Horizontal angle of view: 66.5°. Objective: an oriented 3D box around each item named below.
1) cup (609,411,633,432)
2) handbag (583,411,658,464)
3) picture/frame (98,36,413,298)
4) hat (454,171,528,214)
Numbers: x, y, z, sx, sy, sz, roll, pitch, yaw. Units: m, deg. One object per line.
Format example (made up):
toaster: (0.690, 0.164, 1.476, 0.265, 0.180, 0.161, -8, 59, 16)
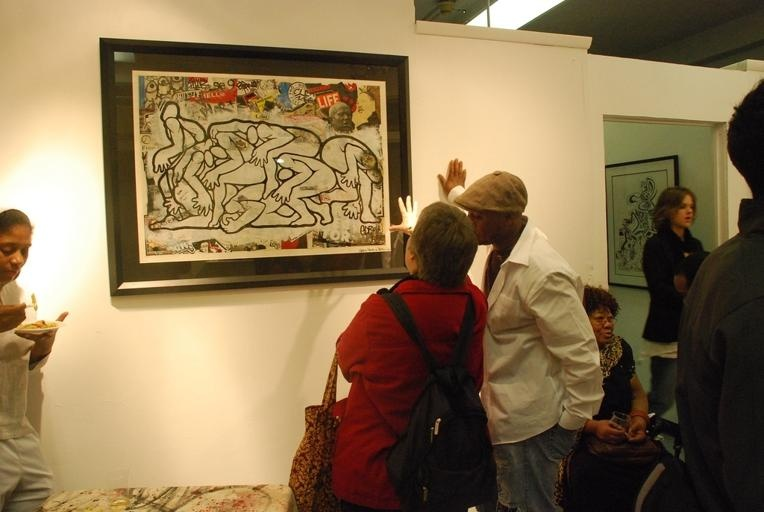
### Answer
cup: (1.371, 0.945, 3.333, 0.113, 0.107, 0.088, 2, -6, 34)
handbag: (1.359, 1.023, 3.314, 0.276, 0.119, 0.279, -1, -2, -4)
picture/frame: (-0.848, -0.549, 3.507, 1.604, 1.267, 0.065, -1, -1, -18)
hat: (0.586, -0.358, 3.143, 0.439, 0.216, 0.277, -1, 12, -24)
